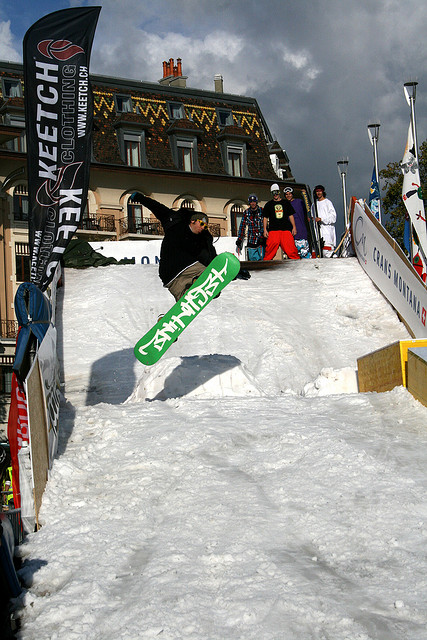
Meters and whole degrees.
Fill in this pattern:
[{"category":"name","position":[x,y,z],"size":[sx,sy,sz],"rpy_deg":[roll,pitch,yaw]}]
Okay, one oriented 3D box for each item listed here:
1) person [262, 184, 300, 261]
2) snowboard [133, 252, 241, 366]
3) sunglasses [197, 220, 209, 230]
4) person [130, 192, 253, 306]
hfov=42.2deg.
[{"category":"person","position":[1.752,-2.551,14.501],"size":[0.837,1.916,1.182],"rpy_deg":[-3,4,7]},{"category":"snowboard","position":[-0.396,-0.105,9.658],"size":[3.063,0.685,0.460],"rpy_deg":[-47,-11,5]},{"category":"sunglasses","position":[-0.125,-1.274,7.393],"size":[0.063,0.105,0.274],"rpy_deg":[-2,4,16]},{"category":"person","position":[-0.154,-0.814,7.633],"size":[1.412,2.395,0.845],"rpy_deg":[-8,-36,-3]}]
